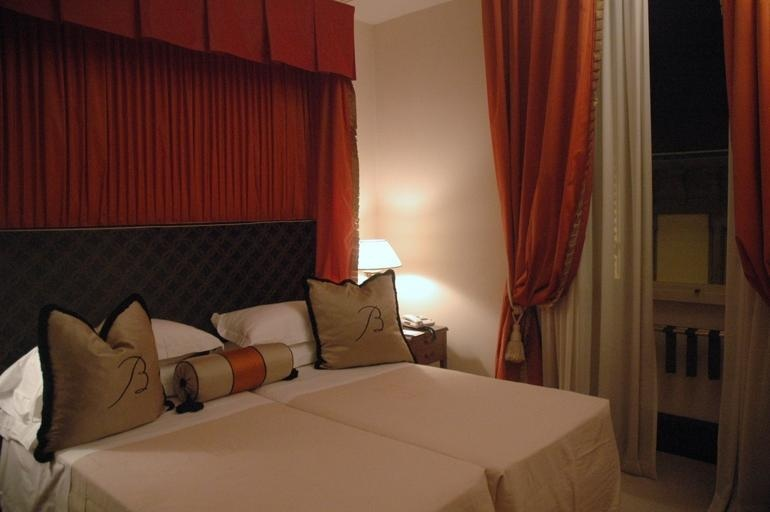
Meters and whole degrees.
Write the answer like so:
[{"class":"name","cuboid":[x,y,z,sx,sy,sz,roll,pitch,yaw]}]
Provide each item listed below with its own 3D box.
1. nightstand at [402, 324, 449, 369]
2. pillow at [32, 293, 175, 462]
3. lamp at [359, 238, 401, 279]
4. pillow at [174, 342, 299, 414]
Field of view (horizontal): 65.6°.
[{"class":"nightstand","cuboid":[0.351,0.722,4.844,0.274,0.406,0.392,0,2,32]},{"class":"pillow","cuboid":[-1.540,0.691,3.241,0.317,0.801,0.750,-8,-2,41]},{"class":"lamp","cuboid":[-0.055,0.019,4.909,0.298,0.297,0.306,0,3,-21]},{"class":"pillow","cuboid":[-0.924,0.726,3.728,0.582,0.226,0.317,-5,3,-40]}]
